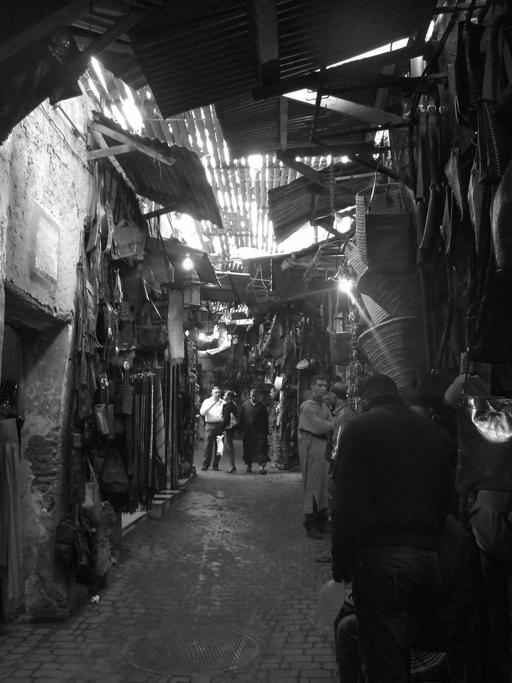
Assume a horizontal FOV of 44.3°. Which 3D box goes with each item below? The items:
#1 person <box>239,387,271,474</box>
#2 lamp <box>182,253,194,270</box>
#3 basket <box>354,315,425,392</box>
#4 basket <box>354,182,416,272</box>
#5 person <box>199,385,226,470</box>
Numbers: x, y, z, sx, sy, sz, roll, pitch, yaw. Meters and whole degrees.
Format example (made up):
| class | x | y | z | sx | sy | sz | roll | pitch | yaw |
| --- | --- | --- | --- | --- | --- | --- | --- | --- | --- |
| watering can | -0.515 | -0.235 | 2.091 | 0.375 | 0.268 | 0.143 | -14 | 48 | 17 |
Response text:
| class | x | y | z | sx | sy | sz | roll | pitch | yaw |
| --- | --- | --- | --- | --- | --- | --- | --- | --- | --- |
| person | -0.030 | 2.038 | 14.506 | 0.622 | 1.922 | 0.802 | 0 | -4 | 0 |
| lamp | -1.060 | -1.235 | 9.731 | 0.133 | 0.210 | 0.367 | 5 | 18 | -4 |
| basket | 0.768 | 0.071 | 3.509 | 0.275 | 0.314 | 0.386 | -2 | -35 | 11 |
| basket | 0.648 | -0.660 | 3.367 | 0.205 | 0.440 | 0.252 | -8 | 35 | 6 |
| person | -1.076 | 2.125 | 15.550 | 0.535 | 1.980 | 1.608 | 0 | -4 | -4 |
